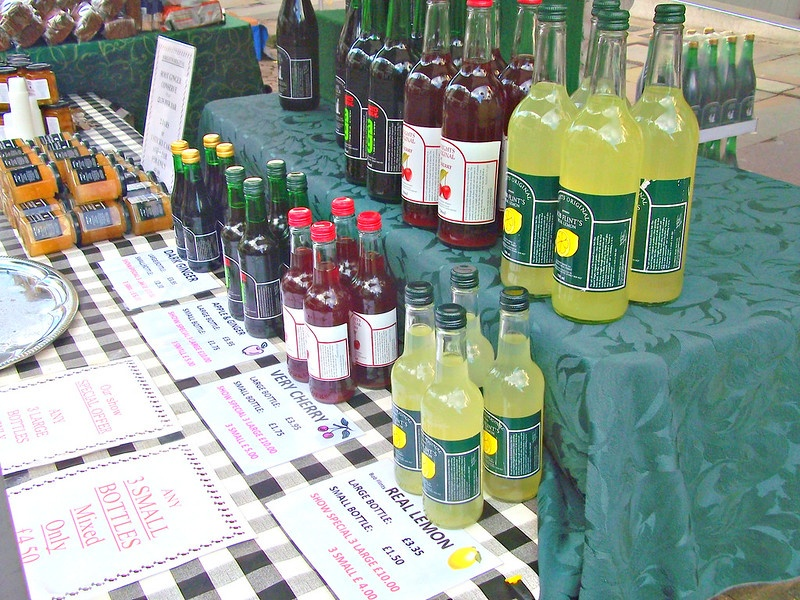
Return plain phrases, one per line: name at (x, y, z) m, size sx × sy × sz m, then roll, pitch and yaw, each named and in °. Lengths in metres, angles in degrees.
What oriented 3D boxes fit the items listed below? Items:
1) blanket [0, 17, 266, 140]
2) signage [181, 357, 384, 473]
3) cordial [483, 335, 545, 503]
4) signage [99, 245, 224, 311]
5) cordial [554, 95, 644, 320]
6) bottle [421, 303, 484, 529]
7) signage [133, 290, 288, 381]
blanket at (-1.159, -1.094, 3.091) m, size 0.882 × 0.399 × 0.840 m, roll -14°, pitch 34°, yaw -26°
signage at (-0.250, 0.226, 1.259) m, size 0.182 × 0.002 × 0.231 m, roll -17°, pitch 34°, yaw -27°
cordial at (0.177, 0.181, 1.015) m, size 0.098 × 0.354 × 0.095 m, roll 6°, pitch 36°, yaw 11°
signage at (-0.630, -0.059, 1.691) m, size 0.192 × 0.010 × 0.207 m, roll -17°, pitch 37°, yaw -25°
cordial at (0.286, -0.125, 0.959) m, size 0.111 × 0.331 × 0.087 m, roll 5°, pitch 29°, yaw 17°
bottle at (0.077, 0.200, 0.983) m, size 0.093 × 0.337 × 0.063 m, roll -5°, pitch 28°, yaw 1°
signage at (-0.455, 0.085, 1.482) m, size 0.202 × 0.004 × 0.217 m, roll -16°, pitch 35°, yaw -22°
